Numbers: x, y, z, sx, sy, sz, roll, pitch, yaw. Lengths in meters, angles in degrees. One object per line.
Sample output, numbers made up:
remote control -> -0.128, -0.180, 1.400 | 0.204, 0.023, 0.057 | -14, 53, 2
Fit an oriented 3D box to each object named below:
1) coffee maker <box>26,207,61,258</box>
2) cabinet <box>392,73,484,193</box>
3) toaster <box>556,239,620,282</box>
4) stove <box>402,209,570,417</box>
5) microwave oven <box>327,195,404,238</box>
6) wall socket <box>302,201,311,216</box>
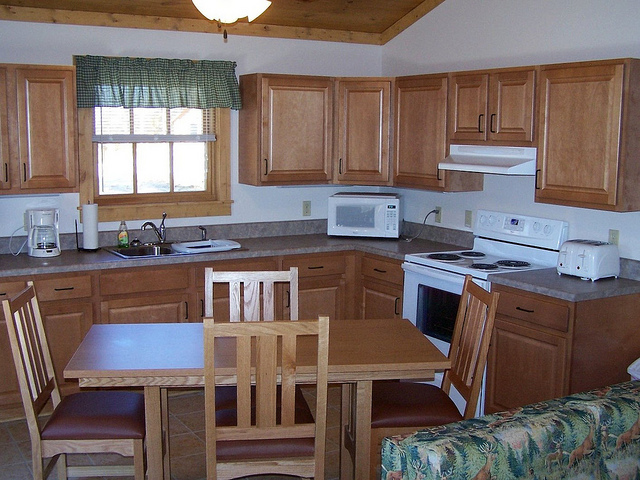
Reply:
coffee maker -> -2.072, -0.065, 3.996 | 0.232, 0.377, 0.211 | -5, 14, -28
cabinet -> 0.997, -0.876, 4.433 | 0.563, 0.954, 0.725 | -6, 13, -22
toaster -> 1.739, 0.125, 3.436 | 0.292, 0.234, 0.255 | -9, 11, -30
stove -> 1.217, 0.531, 3.953 | 0.843, 1.324, 1.029 | -6, 8, -11
microwave oven -> 0.400, -0.203, 4.678 | 0.582, 0.333, 0.403 | 1, 3, 13
wall socket -> -0.123, -0.299, 5.079 | 0.091, 0.141, 0.018 | -9, 12, -32
